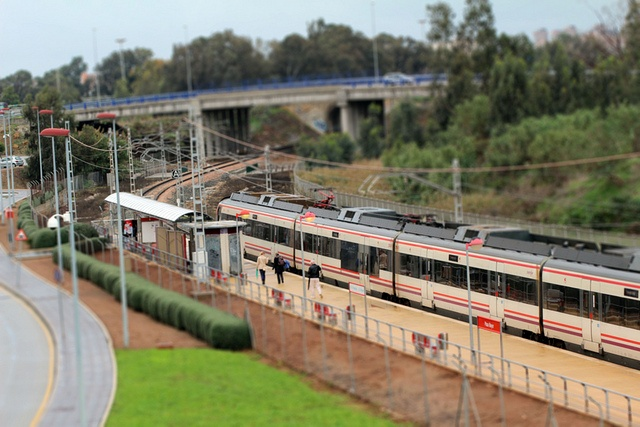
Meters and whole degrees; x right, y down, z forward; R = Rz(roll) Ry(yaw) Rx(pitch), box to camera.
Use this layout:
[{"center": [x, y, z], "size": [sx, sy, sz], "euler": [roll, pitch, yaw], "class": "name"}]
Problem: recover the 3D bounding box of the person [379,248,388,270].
[{"center": [4.035, 2.926, 53.336], "size": [0.754, 1.112, 0.260], "euler": [9, 9, 42], "class": "person"}]
